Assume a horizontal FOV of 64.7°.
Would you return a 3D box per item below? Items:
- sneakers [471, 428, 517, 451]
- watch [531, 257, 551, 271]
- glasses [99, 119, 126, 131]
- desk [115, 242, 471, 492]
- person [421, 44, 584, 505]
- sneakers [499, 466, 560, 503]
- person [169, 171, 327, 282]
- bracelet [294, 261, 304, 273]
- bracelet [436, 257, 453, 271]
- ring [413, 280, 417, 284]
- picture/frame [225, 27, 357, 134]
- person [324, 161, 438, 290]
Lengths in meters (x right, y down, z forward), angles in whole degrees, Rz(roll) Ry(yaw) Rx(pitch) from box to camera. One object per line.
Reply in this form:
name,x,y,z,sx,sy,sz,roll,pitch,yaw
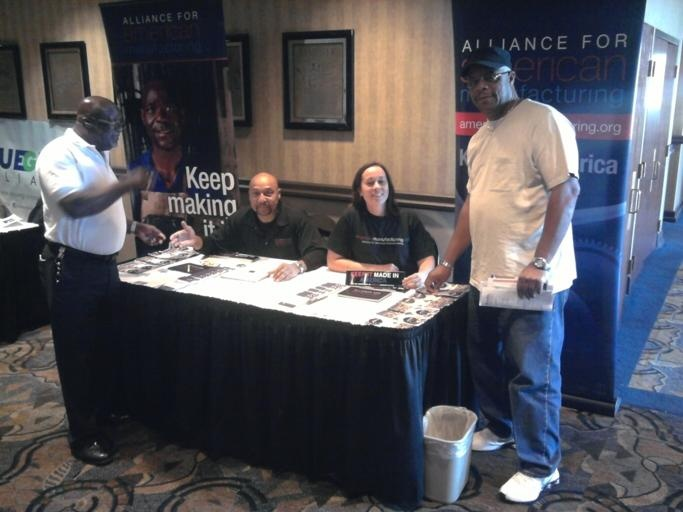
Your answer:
sneakers,0.884,1.044,3.098,0.295,0.128,0.112,1,8,-7
watch,0.910,0.033,2.477,0.048,0.030,0.070,-1,26,20
glasses,-1.284,-0.730,2.976,0.078,0.076,0.165,5,18,23
desk,-0.368,0.668,3.134,1.656,0.738,0.882,7,-2,4
person,0.856,0.075,2.757,0.495,2.168,0.732,-11,19,-29
sneakers,0.976,1.161,2.769,0.333,0.148,0.125,-6,5,-18
person,-0.594,-0.231,3.658,0.975,0.624,0.720,4,17,-2
bracelet,-0.266,0.059,3.340,0.044,0.063,0.059,-10,-12,-21
bracelet,0.577,0.039,3.025,0.057,0.056,0.038,27,48,-15
ring,0.411,0.144,3.040,0.018,0.019,0.014,0,6,13
picture/frame,-0.414,-1.460,4.492,1.105,0.804,0.129,5,18,22
person,0.237,-0.158,3.421,0.674,0.815,0.608,6,16,24
